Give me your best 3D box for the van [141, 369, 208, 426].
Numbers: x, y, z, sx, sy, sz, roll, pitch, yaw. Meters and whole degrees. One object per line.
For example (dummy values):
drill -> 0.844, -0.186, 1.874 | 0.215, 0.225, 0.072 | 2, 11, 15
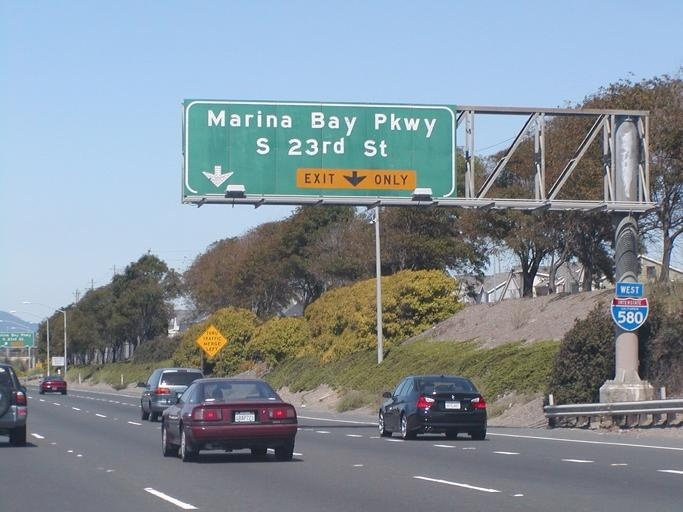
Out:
van -> -5.645, 4.768, 45.914 | 2.185, 2.397, 3.966 | 4, -6, -18

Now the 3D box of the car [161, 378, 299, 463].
car -> -3.407, 4.779, 40.125 | 2.925, 2.450, 6.132 | 1, -6, -15

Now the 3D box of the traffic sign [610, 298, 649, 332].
traffic sign -> 10.003, 2.006, 47.072 | 0.953, 1.021, 0.153 | 3, -21, -1

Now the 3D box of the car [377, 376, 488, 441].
car -> 2.931, 4.993, 45.374 | 2.496, 2.353, 5.725 | 2, -5, -10
